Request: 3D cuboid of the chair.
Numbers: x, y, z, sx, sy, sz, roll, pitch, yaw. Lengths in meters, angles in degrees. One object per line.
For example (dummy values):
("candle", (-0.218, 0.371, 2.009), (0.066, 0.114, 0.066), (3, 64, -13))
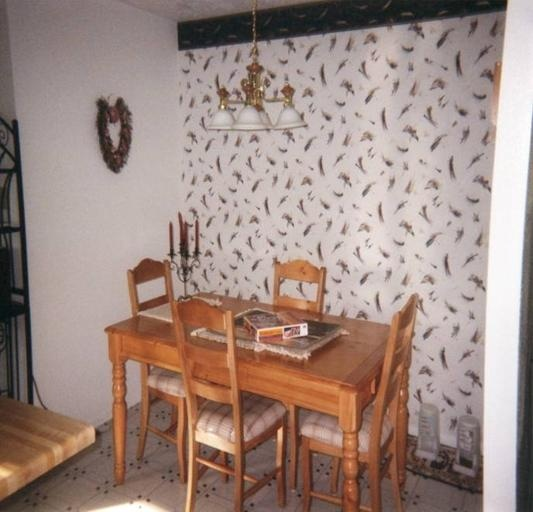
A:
("chair", (-0.014, 0.630, 2.362), (1.336, 0.994, 0.823), (2, 7, 30))
